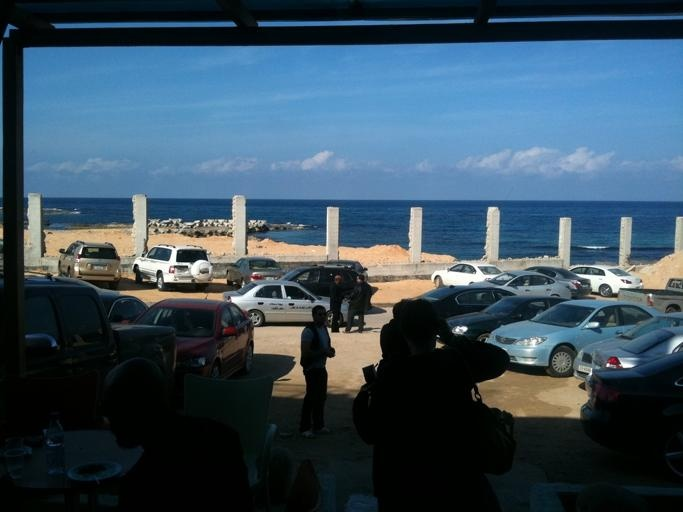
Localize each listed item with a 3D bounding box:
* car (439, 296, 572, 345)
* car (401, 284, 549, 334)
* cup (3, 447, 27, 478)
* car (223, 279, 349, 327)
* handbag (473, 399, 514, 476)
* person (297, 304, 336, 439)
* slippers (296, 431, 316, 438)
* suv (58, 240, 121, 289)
[{"bbox_3d":[3.885,1.536,16.909,4.308,1.206,1.684,-2,-1,-23],"label":"car"},{"bbox_3d":[3.970,1.648,19.256,4.190,1.183,1.635,1,-2,-7],"label":"car"},{"bbox_3d":[-2.934,1.866,5.876,0.239,0.239,0.209,-3,-8,-9],"label":"cup"},{"bbox_3d":[-1.737,1.470,20.278,3.641,1.003,1.507,-1,4,-11],"label":"car"},{"bbox_3d":[1.172,1.368,4.942,0.285,0.574,0.387,4,4,21],"label":"handbag"},{"bbox_3d":[-0.381,1.785,10.078,0.492,1.955,0.549,2,4,-2],"label":"person"},{"bbox_3d":[-0.519,2.752,10.002,0.173,0.045,0.103,0,-3,-43],"label":"slippers"},{"bbox_3d":[-10.058,0.189,26.041,1.882,1.307,3.324,-1,11,-26],"label":"suv"}]
